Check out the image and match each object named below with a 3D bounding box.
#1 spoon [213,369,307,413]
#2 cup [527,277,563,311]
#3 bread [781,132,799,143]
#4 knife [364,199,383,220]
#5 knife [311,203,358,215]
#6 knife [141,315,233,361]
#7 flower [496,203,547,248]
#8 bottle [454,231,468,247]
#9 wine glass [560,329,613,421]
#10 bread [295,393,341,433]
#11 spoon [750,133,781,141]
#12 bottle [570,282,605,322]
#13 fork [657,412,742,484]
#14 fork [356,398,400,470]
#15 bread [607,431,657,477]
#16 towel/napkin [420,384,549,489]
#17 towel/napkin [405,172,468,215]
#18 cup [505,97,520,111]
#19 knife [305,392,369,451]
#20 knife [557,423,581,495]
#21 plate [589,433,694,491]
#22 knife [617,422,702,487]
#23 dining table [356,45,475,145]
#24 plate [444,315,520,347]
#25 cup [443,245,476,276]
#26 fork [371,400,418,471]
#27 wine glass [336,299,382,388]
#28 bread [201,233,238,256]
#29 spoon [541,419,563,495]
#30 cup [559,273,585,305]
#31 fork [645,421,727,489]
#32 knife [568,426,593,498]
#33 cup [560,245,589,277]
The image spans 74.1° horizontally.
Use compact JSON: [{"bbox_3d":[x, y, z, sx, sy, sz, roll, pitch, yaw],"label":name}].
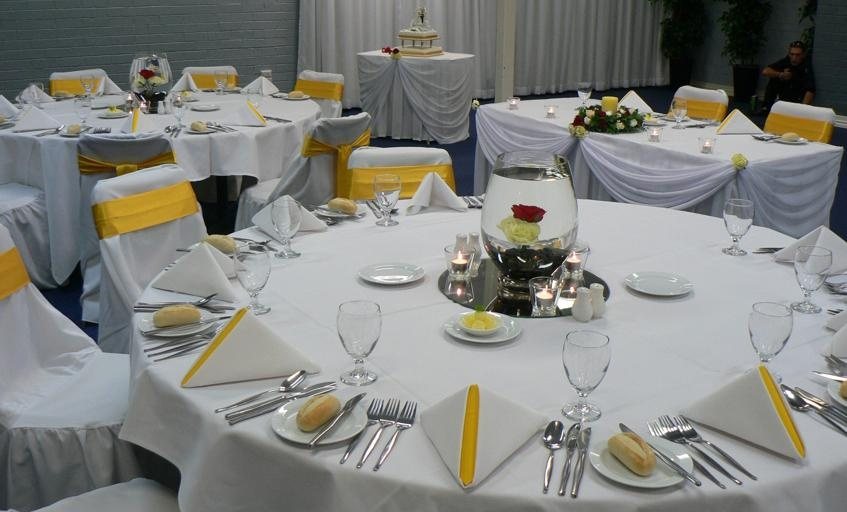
[{"bbox_3d":[-0.553,0.451,1.868,0.248,0.039,0.044,-20,22,-33],"label":"spoon"},{"bbox_3d":[0.491,0.139,2.291,0.120,0.143,0.128,-3,13,1],"label":"cup"},{"bbox_3d":[2.904,-0.957,4.436,0.098,0.055,0.102,0,13,4],"label":"bread"},{"bbox_3d":[-0.269,-0.258,3.074,0.042,0.024,0.253,-9,20,-11],"label":"knife"},{"bbox_3d":[-0.472,-0.254,3.018,0.325,0.040,0.032,11,-4,20],"label":"knife"},{"bbox_3d":[-0.881,0.303,2.093,0.144,0.025,0.201,16,33,39],"label":"knife"},{"bbox_3d":[0.404,-0.126,2.269,0.144,0.163,0.071,-4,0,18],"label":"flower"},{"bbox_3d":[0.171,-0.072,2.508,0.061,0.072,0.063,1,23,3],"label":"bottle"},{"bbox_3d":[0.518,0.360,1.795,0.145,0.260,0.226,9,30,16],"label":"wine glass"},{"bbox_3d":[-0.328,0.487,1.790,0.077,0.082,0.147,44,47,20],"label":"bread"},{"bbox_3d":[2.793,-0.976,4.574,0.317,0.047,0.244,1,10,4],"label":"spoon"},{"bbox_3d":[0.651,0.179,2.261,0.154,0.158,0.101,-5,11,-22],"label":"bottle"},{"bbox_3d":[0.800,0.569,1.706,0.083,0.040,0.336,-21,39,-21],"label":"fork"},{"bbox_3d":[-0.135,0.540,1.758,0.059,0.035,0.245,-1,37,30],"label":"fork"},{"bbox_3d":[0.607,0.565,1.644,0.078,0.065,0.142,-16,23,-27],"label":"bread"},{"bbox_3d":[0.176,0.497,1.724,0.323,0.173,0.258,-19,34,-32],"label":"towel/napkin"},{"bbox_3d":[0.068,-0.339,3.040,0.254,0.145,0.263,-3,28,-7],"label":"towel/napkin"},{"bbox_3d":[0.918,-1.584,5.815,0.137,0.140,0.148,-1,15,0],"label":"cup"},{"bbox_3d":[-0.252,0.497,1.795,0.053,0.023,0.388,17,29,20],"label":"knife"},{"bbox_3d":[0.430,0.598,1.657,0.043,0.016,0.278,-12,28,30],"label":"knife"},{"bbox_3d":[0.621,0.615,1.632,0.177,0.028,0.191,16,28,27],"label":"plate"},{"bbox_3d":[0.698,0.591,1.651,0.027,0.012,0.222,-19,39,-25],"label":"knife"},{"bbox_3d":[-0.114,-2.475,8.521,1.526,1.232,0.970,15,29,27],"label":"dining table"},{"bbox_3d":[0.229,0.287,2.103,0.151,0.018,0.157,9,24,19],"label":"plate"},{"bbox_3d":[0.159,0.024,2.492,0.124,0.114,0.118,0,22,0],"label":"cup"},{"bbox_3d":[-0.065,0.533,1.765,0.053,0.045,0.327,0,43,30],"label":"fork"},{"bbox_3d":[-0.219,0.273,1.918,0.143,0.255,0.208,-5,29,-9],"label":"wine glass"},{"bbox_3d":[-0.921,-0.057,2.554,0.146,0.047,0.152,18,17,21],"label":"bread"},{"bbox_3d":[0.376,0.574,1.648,0.048,0.033,0.234,-7,39,22],"label":"spoon"},{"bbox_3d":[0.634,0.145,2.379,0.095,0.125,0.126,-2,22,1],"label":"cup"},{"bbox_3d":[0.780,0.573,1.680,0.072,0.035,0.302,-1,34,-19],"label":"fork"},{"bbox_3d":[0.460,0.605,1.649,0.041,0.019,0.289,-5,29,26],"label":"knife"},{"bbox_3d":[0.672,0.025,2.501,0.121,0.142,0.120,-1,26,0],"label":"cup"}]
